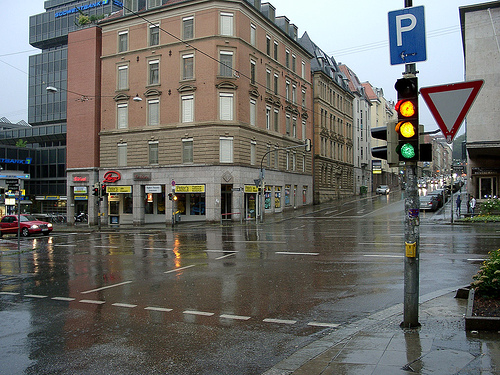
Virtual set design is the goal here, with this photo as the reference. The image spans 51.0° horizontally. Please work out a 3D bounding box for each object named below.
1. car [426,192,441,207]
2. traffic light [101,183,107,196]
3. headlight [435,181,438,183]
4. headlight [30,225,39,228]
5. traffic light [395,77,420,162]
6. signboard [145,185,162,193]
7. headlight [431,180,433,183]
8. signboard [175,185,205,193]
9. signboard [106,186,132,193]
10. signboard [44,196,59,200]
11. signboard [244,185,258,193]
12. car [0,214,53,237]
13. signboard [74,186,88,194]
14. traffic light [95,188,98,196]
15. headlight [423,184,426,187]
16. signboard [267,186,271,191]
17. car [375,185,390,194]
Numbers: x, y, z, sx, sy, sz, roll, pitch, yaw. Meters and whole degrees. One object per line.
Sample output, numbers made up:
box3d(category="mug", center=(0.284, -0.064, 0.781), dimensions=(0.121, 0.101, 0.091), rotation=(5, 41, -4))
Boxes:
box3d(category="car", center=(17.439, 1.181, 49.594), dimensions=(1.188, 1.034, 2.092), rotation=(-2, 2, 30))
box3d(category="traffic light", center=(-11.552, 0.238, 41.033), dimensions=(0.311, 0.849, 0.988), rotation=(-1, -5, -15))
box3d(category="headlight", center=(36.679, -0.981, 102.743), dimensions=(0.284, 0.294, 0.273), rotation=(14, -10, 30))
box3d(category="headlight", center=(-14.495, 2.642, 35.079), dimensions=(0.484, 0.178, 0.130), rotation=(-1, -5, -20))
box3d(category="traffic light", center=(3.341, -1.427, 11.083), dimensions=(0.502, 1.805, 0.384), rotation=(-2, -5, 2))
box3d(category="signboard", center=(-8.508, 0.152, 46.184), dimensions=(1.516, 0.713, 0.493), rotation=(-6, -6, 32))
box3d(category="headlight", center=(33.582, -0.918, 96.567), dimensions=(0.328, 0.240, 0.325), rotation=(-4, 4, -36))
box3d(category="signboard", center=(-5.015, 0.132, 44.013), dimensions=(2.862, 0.790, 0.527), rotation=(-6, -6, 35))
box3d(category="signboard", center=(-11.945, 0.189, 47.650), dimensions=(2.821, 0.740, 0.646), rotation=(-6, -6, 36))
box3d(category="signboard", center=(-26.124, 1.459, 68.814), dimensions=(2.427, 0.599, 0.518), rotation=(-6, -6, 32))
box3d(category="signboard", center=(0.053, 0.135, 45.026), dimensions=(0.839, 0.704, 3.068), rotation=(-3, -5, 6))
box3d(category="car", center=(-15.790, 2.650, 36.359), dimensions=(4.151, 1.552, 1.817), rotation=(-6, -6, 36))
box3d(category="signboard", center=(-16.006, 0.291, 49.496), dimensions=(1.599, 0.837, 0.399), rotation=(-6, -6, 33))
box3d(category="traffic light", center=(-11.888, 0.369, 40.443), dimensions=(0.156, 0.492, 0.469), rotation=(-2, -5, -4))
box3d(category="headlight", center=(27.304, -0.234, 81.958), dimensions=(0.509, 0.291, 0.546), rotation=(1, 4, 7))
box3d(category="signboard", center=(1.826, 0.147, 49.370), dimensions=(0.130, 0.485, 0.727), rotation=(-4, -5, 18))
box3d(category="car", center=(19.588, 0.430, 76.721), dimensions=(1.347, 1.356, 2.191), rotation=(-1, -5, -20))
